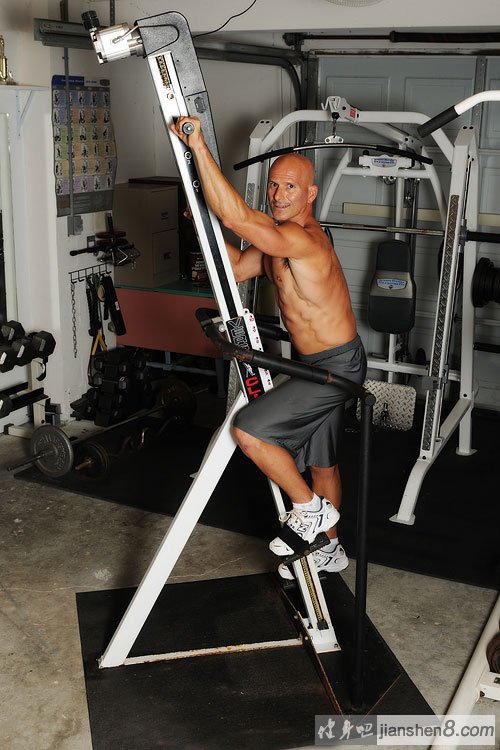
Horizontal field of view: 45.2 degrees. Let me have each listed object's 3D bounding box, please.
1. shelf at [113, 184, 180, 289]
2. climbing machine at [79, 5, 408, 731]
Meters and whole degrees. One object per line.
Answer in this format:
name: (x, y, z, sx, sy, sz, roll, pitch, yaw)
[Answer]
shelf: (-0.732, -1.013, 4.334, 0.361, 0.798, 0.421, 1, 24, -3)
climbing machine: (-0.052, 0.121, 1.972, 0.719, 1.975, 1.216, 12, 19, 40)
